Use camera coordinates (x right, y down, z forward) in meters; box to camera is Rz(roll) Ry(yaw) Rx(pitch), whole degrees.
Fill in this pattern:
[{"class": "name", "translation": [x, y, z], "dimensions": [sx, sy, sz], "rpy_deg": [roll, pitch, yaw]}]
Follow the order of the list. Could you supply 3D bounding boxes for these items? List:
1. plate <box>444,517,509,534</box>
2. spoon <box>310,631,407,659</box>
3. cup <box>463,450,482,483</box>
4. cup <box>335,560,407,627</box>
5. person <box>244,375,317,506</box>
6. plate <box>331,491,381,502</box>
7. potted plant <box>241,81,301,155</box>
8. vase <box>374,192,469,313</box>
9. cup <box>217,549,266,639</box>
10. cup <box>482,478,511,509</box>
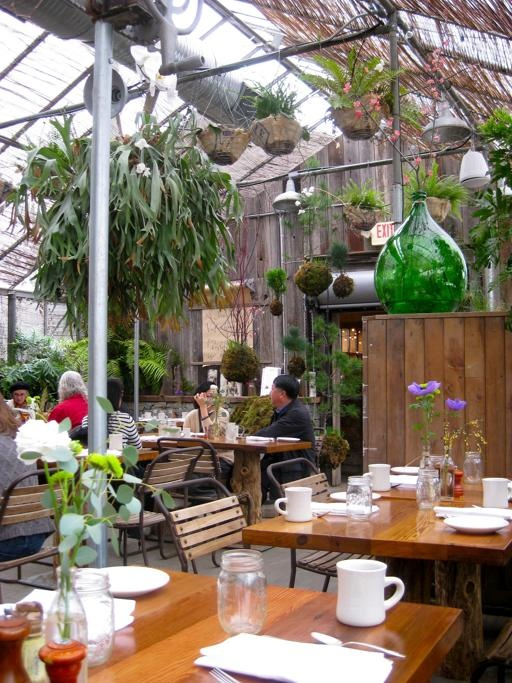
[{"class": "plate", "translation": [0.653, 0.544, 1.659], "dimensions": [0.178, 0.040, 0.176], "rpy_deg": [-3, -9, 18]}, {"class": "spoon", "translation": [0.149, 0.443, 0.818], "dimensions": [0.131, 0.017, 0.025], "rpy_deg": [-14, -15, 41]}, {"class": "cup", "translation": [1.013, 0.593, 2.630], "dimensions": [0.084, 0.147, 0.115], "rpy_deg": [-3, -9, 20]}, {"class": "cup", "translation": [0.194, 0.447, 1.006], "dimensions": [0.134, 0.092, 0.085], "rpy_deg": [16, -17, -38]}, {"class": "person", "translation": [0.186, 0.901, 4.951], "dimensions": [0.634, 1.148, 0.517], "rpy_deg": [-1, 4, -13]}, {"class": "plate", "translation": [0.359, 0.558, 2.019], "dimensions": [0.159, 0.022, 0.161], "rpy_deg": [0, -8, -7]}, {"class": "potted plant", "translation": [0.146, -1.635, 4.342], "dimensions": [0.395, 0.576, 0.553], "rpy_deg": [0, -7, 3]}, {"class": "vase", "translation": [0.501, -0.270, 1.734], "dimensions": [0.268, 0.361, 0.136], "rpy_deg": [-2, -9, 16]}, {"class": "cup", "translation": [-0.022, 0.403, 0.902], "dimensions": [0.075, 0.131, 0.108], "rpy_deg": [0, -8, -1]}, {"class": "cup", "translation": [0.851, 0.547, 2.034], "dimensions": [0.112, 0.096, 0.094], "rpy_deg": [-4, -10, 39]}]
